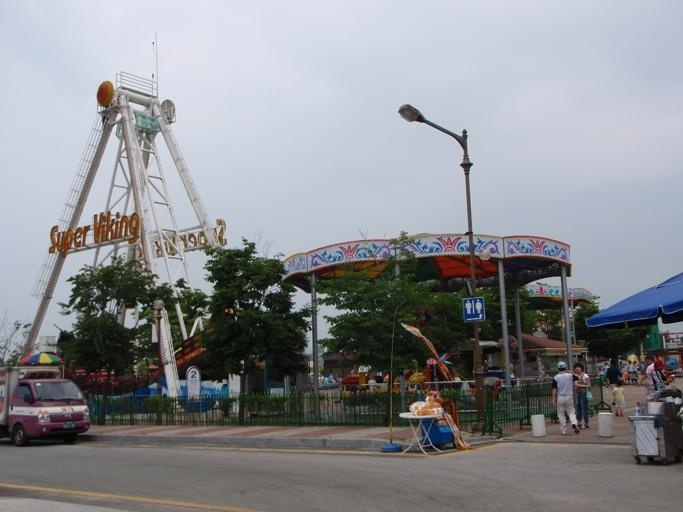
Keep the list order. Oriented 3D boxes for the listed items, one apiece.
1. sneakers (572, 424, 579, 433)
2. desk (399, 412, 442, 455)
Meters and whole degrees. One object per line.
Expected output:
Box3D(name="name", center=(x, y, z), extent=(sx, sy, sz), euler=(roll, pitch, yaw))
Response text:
Box3D(name="sneakers", center=(6.948, 5.107, 19.304), extent=(0.169, 0.278, 0.472), euler=(-8, -15, 19))
Box3D(name="desk", center=(2.162, 5.093, 18.028), extent=(1.301, 1.136, 1.416), euler=(0, -8, 8))
